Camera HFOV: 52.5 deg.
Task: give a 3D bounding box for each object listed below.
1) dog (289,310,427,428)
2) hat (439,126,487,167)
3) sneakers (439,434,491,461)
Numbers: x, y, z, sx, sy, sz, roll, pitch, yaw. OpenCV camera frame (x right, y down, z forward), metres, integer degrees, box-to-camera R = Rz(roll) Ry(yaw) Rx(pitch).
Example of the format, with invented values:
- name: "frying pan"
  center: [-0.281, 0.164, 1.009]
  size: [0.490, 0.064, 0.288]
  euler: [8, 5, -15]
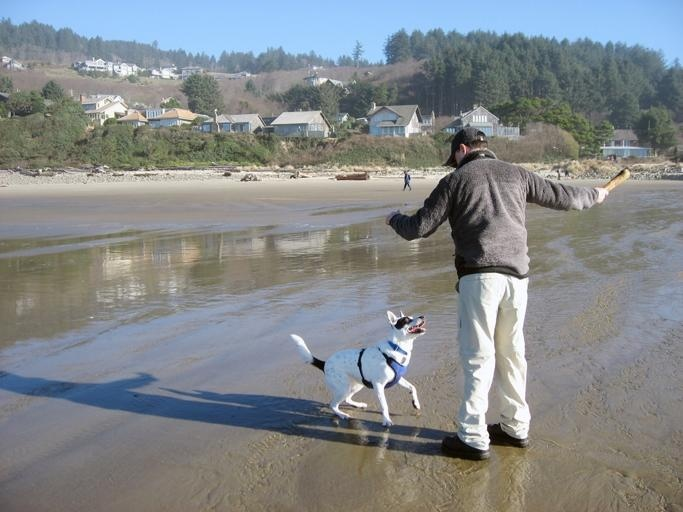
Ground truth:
- name: "dog"
  center: [0.188, 1.219, 7.687]
  size: [1.437, 1.203, 0.533]
  euler: [-2, 0, 19]
- name: "hat"
  center: [1.234, -1.149, 7.231]
  size: [0.491, 0.312, 0.358]
  euler: [-3, 11, 40]
- name: "sneakers"
  center: [1.234, 1.901, 6.975]
  size: [0.437, 0.206, 0.211]
  euler: [7, 11, 30]
